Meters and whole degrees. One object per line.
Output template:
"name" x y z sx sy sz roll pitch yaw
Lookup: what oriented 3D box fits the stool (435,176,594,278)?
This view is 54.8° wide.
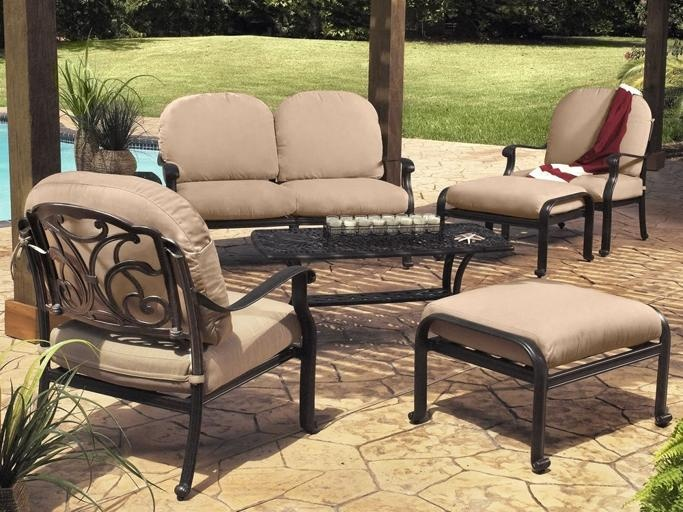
"stool" 1.366 -0.297 5.244 0.942 0.442 0.701 16 20 41

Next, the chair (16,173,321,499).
"chair" -0.664 0.273 2.477 1.113 1.181 0.640 -2 23 -2

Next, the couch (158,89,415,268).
"couch" -0.441 -0.687 5.076 1.978 0.815 0.761 -6 46 -26

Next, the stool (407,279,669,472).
"stool" 0.955 0.431 2.979 1.028 0.465 0.948 -12 18 -38
